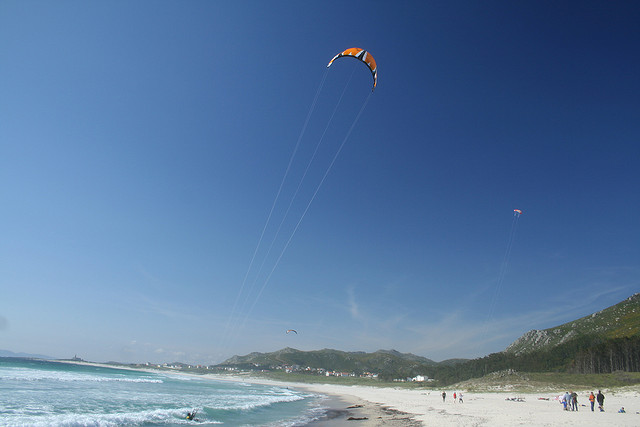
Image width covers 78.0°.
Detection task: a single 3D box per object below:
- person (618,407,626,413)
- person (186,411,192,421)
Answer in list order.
[{"bbox_3d":[39.186,25.459,51.216,0.569,1.036,0.797,-8,-27,42],"label":"person"},{"bbox_3d":[-17.609,27.084,52.632,0.553,1.139,0.635,1,-13,22],"label":"person"}]
